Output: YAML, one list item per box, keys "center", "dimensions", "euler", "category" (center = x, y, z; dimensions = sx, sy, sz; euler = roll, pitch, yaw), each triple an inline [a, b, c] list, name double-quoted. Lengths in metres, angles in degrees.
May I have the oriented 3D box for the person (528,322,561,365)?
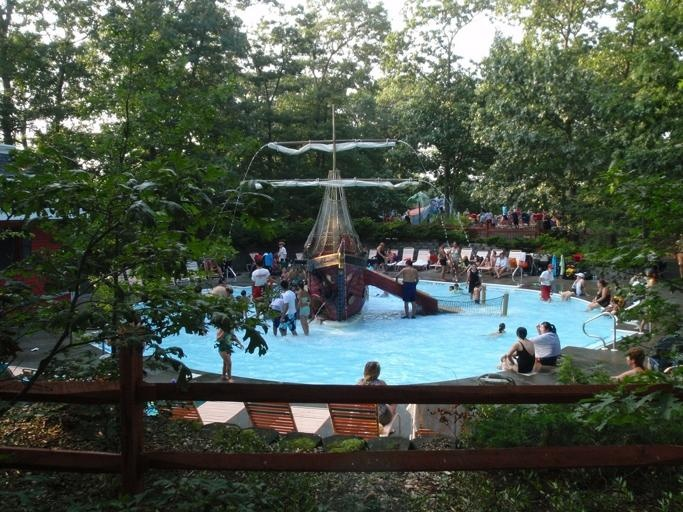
- center: [4.475, 1.907, 12.058]
  dimensions: [0.590, 0.899, 0.782]
  euler: [1, -5, -37]
  category: "person"

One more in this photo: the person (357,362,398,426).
- center: [0.581, 2.290, 8.874]
  dimensions: [0.435, 1.116, 0.691]
  euler: [2, 4, 43]
  category: "person"

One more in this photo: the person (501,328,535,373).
- center: [3.795, 1.953, 11.425]
  dimensions: [0.547, 0.972, 0.677]
  euler: [0, 0, -21]
  category: "person"

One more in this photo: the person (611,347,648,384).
- center: [4.561, 1.693, 8.373]
  dimensions: [0.759, 0.513, 0.355]
  euler: [8, -11, -29]
  category: "person"
